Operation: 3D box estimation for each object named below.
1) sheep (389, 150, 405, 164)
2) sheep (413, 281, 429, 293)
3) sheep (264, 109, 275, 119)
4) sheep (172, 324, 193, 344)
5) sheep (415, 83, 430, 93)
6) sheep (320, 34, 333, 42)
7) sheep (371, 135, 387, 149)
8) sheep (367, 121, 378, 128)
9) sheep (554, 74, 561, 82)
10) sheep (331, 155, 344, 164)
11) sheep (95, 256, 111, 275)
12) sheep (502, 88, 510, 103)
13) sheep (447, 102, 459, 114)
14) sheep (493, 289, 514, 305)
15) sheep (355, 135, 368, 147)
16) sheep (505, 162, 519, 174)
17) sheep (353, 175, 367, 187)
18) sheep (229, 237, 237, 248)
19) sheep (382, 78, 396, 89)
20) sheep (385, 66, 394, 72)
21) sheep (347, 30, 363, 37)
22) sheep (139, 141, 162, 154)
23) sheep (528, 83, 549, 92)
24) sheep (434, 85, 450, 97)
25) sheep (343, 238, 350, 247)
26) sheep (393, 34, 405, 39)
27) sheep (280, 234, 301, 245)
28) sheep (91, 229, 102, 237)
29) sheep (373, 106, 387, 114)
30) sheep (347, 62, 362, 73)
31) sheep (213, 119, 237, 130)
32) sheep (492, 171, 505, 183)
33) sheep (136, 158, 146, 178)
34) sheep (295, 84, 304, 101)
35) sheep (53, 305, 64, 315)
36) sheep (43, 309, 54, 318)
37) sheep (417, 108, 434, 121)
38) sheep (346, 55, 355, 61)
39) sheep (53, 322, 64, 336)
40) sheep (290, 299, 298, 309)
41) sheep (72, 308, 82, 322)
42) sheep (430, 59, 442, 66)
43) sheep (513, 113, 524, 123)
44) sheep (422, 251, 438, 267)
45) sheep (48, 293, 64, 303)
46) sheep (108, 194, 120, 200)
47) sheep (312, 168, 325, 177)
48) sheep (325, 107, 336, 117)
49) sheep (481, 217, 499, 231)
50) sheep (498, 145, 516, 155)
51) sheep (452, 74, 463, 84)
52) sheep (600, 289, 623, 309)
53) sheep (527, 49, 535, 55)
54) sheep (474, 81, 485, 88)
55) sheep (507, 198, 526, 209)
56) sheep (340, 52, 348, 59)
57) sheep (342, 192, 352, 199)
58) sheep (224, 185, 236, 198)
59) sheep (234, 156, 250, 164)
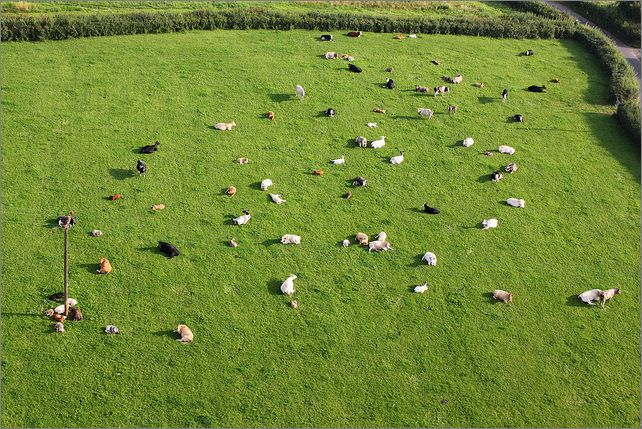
[{"bbox_3d":[9.099,-6.601,112.299,0.801,1.273,1.980,24,49,37],"label":"sheep"},{"bbox_3d":[10.943,7.990,103.983,1.735,0.750,0.791,-15,36,-23],"label":"sheep"},{"bbox_3d":[-6.176,-11.990,114.905,0.763,1.044,0.346,3,-11,5],"label":"sheep"},{"bbox_3d":[-14.306,12.505,100.448,1.726,1.512,1.149,-4,33,-9],"label":"sheep"},{"bbox_3d":[12.877,-15.591,119.655,1.988,1.101,0.637,7,20,-31],"label":"sheep"},{"bbox_3d":[0.678,-23.238,125.850,2.062,1.075,0.666,-6,11,-20],"label":"sheep"},{"bbox_3d":[6.829,-8.444,113.263,0.962,1.308,1.897,19,34,36],"label":"sheep"},{"bbox_3d":[6.177,-10.772,115.287,1.445,0.451,0.839,-8,35,-15],"label":"sheep"},{"bbox_3d":[30.647,-17.557,124.352,0.648,0.305,0.911,3,48,10],"label":"sheep"},{"bbox_3d":[2.103,-6.322,111.580,1.678,1.143,0.643,-6,13,-11],"label":"sheep"},{"bbox_3d":[-23.215,5.406,102.628,1.160,1.726,0.993,1,-13,-41],"label":"sheep"},{"bbox_3d":[23.070,-14.928,119.730,0.532,0.569,1.737,9,55,10],"label":"sheep"},{"bbox_3d":[16.146,-12.918,117.612,1.327,0.809,0.993,-22,40,-31],"label":"sheep"},{"bbox_3d":[19.699,8.821,103.624,2.050,1.174,1.050,22,33,-13],"label":"sheep"},{"bbox_3d":[4.811,-8.658,113.146,0.721,0.871,1.545,0,30,-13],"label":"sheep"},{"bbox_3d":[22.464,-5.420,112.526,1.658,0.993,0.725,-8,34,-15],"label":"sheep"},{"bbox_3d":[4.481,-3.725,109.825,2.030,1.171,0.695,13,25,-1],"label":"sheep"},{"bbox_3d":[-9.625,3.184,105.181,0.842,0.617,1.046,-26,42,-35],"label":"sheep"},{"bbox_3d":[8.747,-16.305,119.840,1.227,0.547,1.278,5,31,26],"label":"sheep"},{"bbox_3d":[8.777,-18.477,122.012,1.156,0.396,0.687,-10,35,-17],"label":"sheep"},{"bbox_3d":[4.607,-23.940,127.557,2.055,1.123,0.655,-8,43,-9],"label":"sheep"},{"bbox_3d":[-19.746,-7.498,110.378,1.882,0.992,1.257,-32,0,-21],"label":"sheep"},{"bbox_3d":[27.569,-16.182,121.915,2.258,1.221,0.952,-5,51,5],"label":"sheep"},{"bbox_3d":[15.089,-15.499,119.382,1.774,1.378,1.776,4,33,3],"label":"sheep"},{"bbox_3d":[2.808,3.120,106.009,0.841,0.628,0.668,1,33,-2],"label":"sheep"},{"bbox_3d":[10.541,-23.728,128.340,0.813,0.344,1.540,27,41,33],"label":"sheep"},{"bbox_3d":[-3.343,2.728,105.420,2.184,1.178,0.903,5,3,5],"label":"sheep"},{"bbox_3d":[-24.423,2.015,104.375,1.274,0.549,0.657,-6,34,-12],"label":"sheep"},{"bbox_3d":[7.251,-12.669,116.816,1.616,0.470,0.675,2,33,1],"label":"sheep"},{"bbox_3d":[4.352,-18.429,121.127,1.559,0.826,0.794,30,56,-15],"label":"sheep"},{"bbox_3d":[-11.324,-10.557,113.293,2.590,1.255,0.921,-8,62,-12],"label":"sheep"},{"bbox_3d":[20.671,-4.430,111.812,0.738,0.782,1.289,14,17,36],"label":"sheep"},{"bbox_3d":[-20.063,-5.265,107.978,0.689,1.106,2.100,-7,54,-29],"label":"sheep"},{"bbox_3d":[-2.500,-14.997,116.848,1.084,1.994,1.745,1,33,0],"label":"sheep"},{"bbox_3d":[-27.401,9.940,100.436,1.067,0.508,0.862,-7,34,-13],"label":"sheep"},{"bbox_3d":[-28.564,10.319,100.406,1.059,0.564,0.594,-6,34,-11],"label":"sheep"},{"bbox_3d":[12.873,-12.397,116.829,1.901,1.242,1.543,-1,33,-5],"label":"sheep"},{"bbox_3d":[3.892,-19.916,122.546,1.039,0.584,0.594,-6,34,-12],"label":"sheep"},{"bbox_3d":[-27.337,11.874,99.967,0.743,0.353,1.089,-4,54,-25],"label":"sheep"},{"bbox_3d":[-2.850,9.534,102.505,0.636,0.354,0.777,-5,60,-13],"label":"sheep"},{"bbox_3d":[-25.754,10.479,100.357,0.882,0.502,1.165,33,4,-45],"label":"sheep"},{"bbox_3d":[14.862,-19.694,124.247,1.414,0.324,0.833,22,39,27],"label":"sheep"},{"bbox_3d":[24.365,-11.836,117.522,0.973,0.431,0.831,-10,21,-8],"label":"sheep"},{"bbox_3d":[12.017,4.852,105.333,1.617,1.190,0.861,7,33,8],"label":"sheep"},{"bbox_3d":[-27.898,8.718,101.322,1.834,0.925,0.601,-21,-5,-13],"label":"sheep"},{"bbox_3d":[-22.969,-1.948,106.642,1.263,0.442,0.651,-6,34,-12],"label":"sheep"},{"bbox_3d":[-0.330,-4.811,110.417,0.582,0.504,1.001,-8,19,-34],"label":"sheep"},{"bbox_3d":[1.210,-12.341,115.734,1.142,0.845,0.892,1,33,-1],"label":"sheep"},{"bbox_3d":[19.045,1.085,108.004,1.454,1.022,0.682,-13,-9,5],"label":"sheep"},{"bbox_3d":[22.136,-7.723,114.100,1.677,0.899,0.900,19,19,27],"label":"sheep"},{"bbox_3d":[17.219,-17.080,121.432,0.661,1.028,1.950,10,29,20],"label":"sheep"},{"bbox_3d":[31.521,9.184,104.288,2.179,1.230,0.550,-35,29,-15],"label":"sheep"},{"bbox_3d":[28.080,-21.747,128.518,0.886,0.527,1.362,22,38,27],"label":"sheep"},{"bbox_3d":[20.180,-16.444,121.500,1.315,0.426,1.045,-13,36,-22],"label":"sheep"},{"bbox_3d":[22.453,-1.250,109.847,1.423,0.550,1.092,2,52,10],"label":"sheep"},{"bbox_3d":[3.043,-20.240,122.936,0.833,0.537,1.336,-13,36,-21],"label":"sheep"},{"bbox_3d":[3.003,-2.159,109.283,0.547,0.473,0.959,-24,8,-2],"label":"sheep"},{"bbox_3d":[-10.190,-2.609,108.131,1.185,0.867,0.838,0,33,-2],"label":"sheep"},{"bbox_3d":[-9.011,-6.237,110.590,1.448,0.815,0.530,-4,33,-15],"label":"sheep"}]
